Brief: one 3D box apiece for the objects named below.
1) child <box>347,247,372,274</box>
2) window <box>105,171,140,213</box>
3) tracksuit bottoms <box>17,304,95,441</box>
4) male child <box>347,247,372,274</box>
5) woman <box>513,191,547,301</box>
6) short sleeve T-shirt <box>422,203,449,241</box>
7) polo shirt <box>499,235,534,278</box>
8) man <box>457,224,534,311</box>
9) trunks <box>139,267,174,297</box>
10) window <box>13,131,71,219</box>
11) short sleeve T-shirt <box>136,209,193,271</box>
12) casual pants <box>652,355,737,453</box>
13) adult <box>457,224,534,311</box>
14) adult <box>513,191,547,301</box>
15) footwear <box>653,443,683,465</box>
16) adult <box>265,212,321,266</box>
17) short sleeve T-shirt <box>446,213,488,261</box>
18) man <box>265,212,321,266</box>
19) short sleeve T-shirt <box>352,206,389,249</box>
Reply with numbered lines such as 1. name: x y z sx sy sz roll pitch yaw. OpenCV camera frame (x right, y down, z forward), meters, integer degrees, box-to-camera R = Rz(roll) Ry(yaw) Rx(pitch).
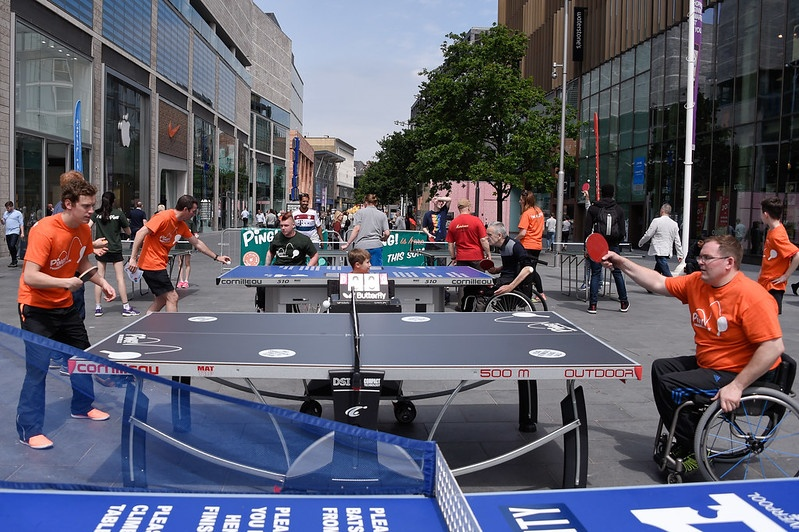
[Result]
1. child: -0.481 -0.068 7.568 0.269 0.355 0.224 -9 9 -4
2. window: -12.656 -3.320 29.693 2.796 1.852 0.203 11 11 39
3. tracksuit bottoms: -1.816 0.555 3.414 0.419 0.698 0.242 -9 -6 -8
4. male child: -0.478 -0.068 7.570 0.269 0.355 0.224 -9 9 -4
5. woman: 2.466 -0.388 12.548 0.757 2.089 0.766 2 -2 -38
6. short sleeve T-shirt: 1.015 -1.222 17.641 0.721 1.309 0.640 -5 18 -15
7. polo shirt: 1.804 -0.143 10.004 0.382 0.576 0.578 -31 9 -28
8. man: 1.565 0.209 10.025 1.145 1.764 0.877 8 4 17
9. trunks: -3.279 0.180 8.629 0.501 0.511 0.312 1 13 1
10. window: -11.606 -3.001 21.028 3.300 2.405 0.149 7 7 30
11. short sleeve T-shirt: -3.213 -0.315 8.778 0.432 0.809 0.723 3 -11 38
12. casual pants: 2.145 1.006 4.866 0.624 0.696 0.494 2 -2 5
13. adult: 1.553 0.216 10.032 1.149 1.774 0.924 7 0 19
14. adult: 2.463 -0.388 12.540 0.779 2.123 0.782 1 -1 -34
15. footwear: 2.044 1.435 4.947 0.157 0.085 0.215 -1 -1 37
16. adult: -1.584 -0.396 9.414 0.715 0.768 0.699 1 6 -11
17. short sleeve T-shirt: 1.151 -0.508 11.179 0.705 0.781 0.415 -2 7 26
18. man: -1.585 -0.396 9.417 0.711 0.768 0.701 1 6 -12
19. short sleeve T-shirt: -0.584 -0.749 12.756 0.753 0.854 0.483 5 2 -13
